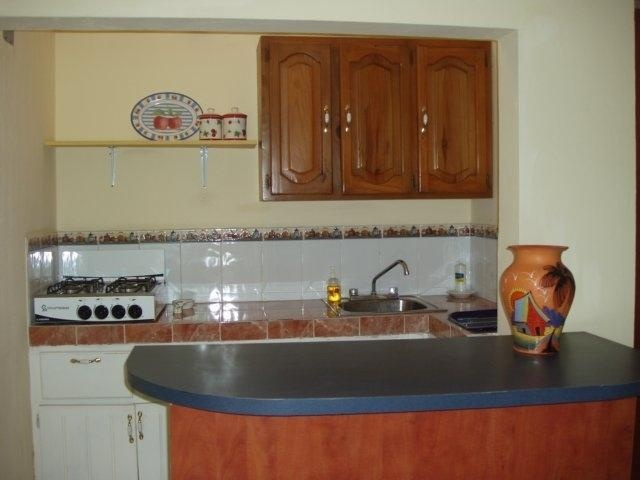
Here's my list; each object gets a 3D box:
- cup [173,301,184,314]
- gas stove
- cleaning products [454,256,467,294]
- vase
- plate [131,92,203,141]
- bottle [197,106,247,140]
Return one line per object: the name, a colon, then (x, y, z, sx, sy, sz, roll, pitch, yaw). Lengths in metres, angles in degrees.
cup: (-0.847, 0.399, 3.579, 0.063, 0.085, 0.073, -3, 5, -38)
gas stove: (-1.264, 0.337, 3.507, 0.683, 0.195, 0.447, -1, 15, -2)
cleaning products: (0.929, 0.243, 3.956, 0.088, 0.170, 0.247, 3, 15, 12)
vase: (0.852, 0.236, 2.382, 0.283, 0.406, 0.285, 5, -5, -26)
plate: (-0.972, -0.790, 3.797, 0.449, 0.286, 0.137, -5, 15, -17)
bottle: (-0.586, -0.692, 3.655, 0.285, 0.202, 0.173, 0, 5, 4)
